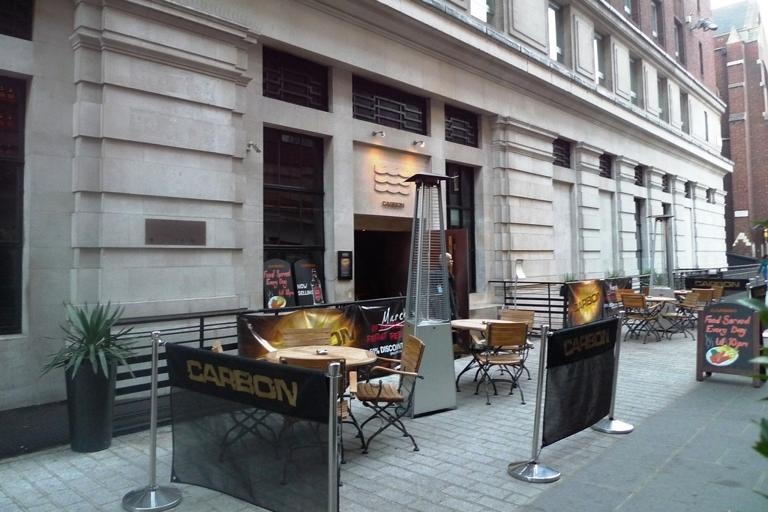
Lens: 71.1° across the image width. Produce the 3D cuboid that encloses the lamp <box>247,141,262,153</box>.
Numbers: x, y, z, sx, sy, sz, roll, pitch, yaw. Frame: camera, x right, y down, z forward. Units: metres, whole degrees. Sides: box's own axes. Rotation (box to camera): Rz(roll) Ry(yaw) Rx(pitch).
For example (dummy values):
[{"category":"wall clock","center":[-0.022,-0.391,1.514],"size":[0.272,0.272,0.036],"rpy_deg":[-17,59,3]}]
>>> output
[{"category":"lamp","center":[-3.252,-2.729,13.448],"size":[0.366,0.294,0.068],"rpy_deg":[-7,13,-33]}]

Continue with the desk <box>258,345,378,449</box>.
[{"category":"desk","center":[-1.024,2.607,9.286],"size":[2.030,1.371,1.944],"rpy_deg":[2,-2,-28]}]

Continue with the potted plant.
[{"category":"potted plant","center":[-5.332,2.050,9.825],"size":[1.262,2.332,1.915],"rpy_deg":[-6,12,-27]}]

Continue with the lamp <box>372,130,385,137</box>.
[{"category":"lamp","center":[-0.163,-3.666,16.052],"size":[0.148,0.138,0.387],"rpy_deg":[10,12,41]}]

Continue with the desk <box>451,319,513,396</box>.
[{"category":"desk","center":[2.486,2.307,12.571],"size":[1.689,1.631,1.498],"rpy_deg":[1,-7,3]}]

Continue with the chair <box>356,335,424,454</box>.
[{"category":"chair","center":[0.409,2.448,10.386],"size":[1.767,2.366,1.793],"rpy_deg":[1,-3,-7]}]

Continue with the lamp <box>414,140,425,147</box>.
[{"category":"lamp","center":[1.141,-3.590,17.151],"size":[0.493,0.213,0.068],"rpy_deg":[-9,14,-39]}]
